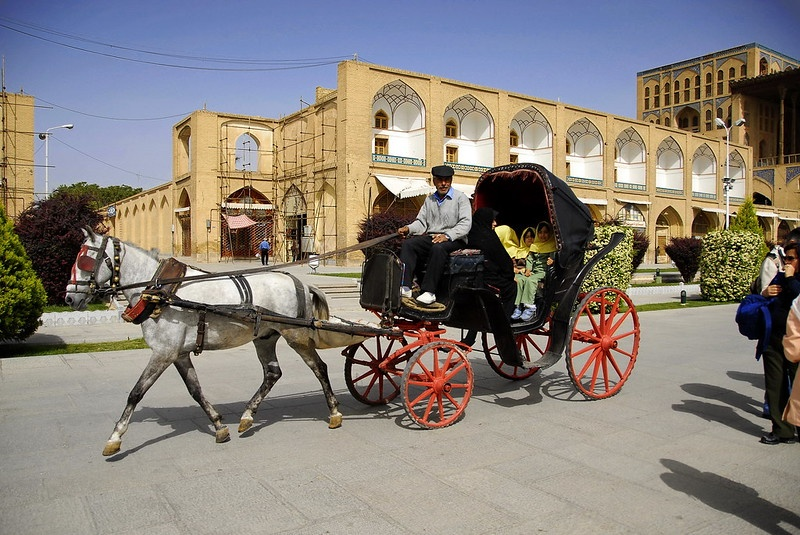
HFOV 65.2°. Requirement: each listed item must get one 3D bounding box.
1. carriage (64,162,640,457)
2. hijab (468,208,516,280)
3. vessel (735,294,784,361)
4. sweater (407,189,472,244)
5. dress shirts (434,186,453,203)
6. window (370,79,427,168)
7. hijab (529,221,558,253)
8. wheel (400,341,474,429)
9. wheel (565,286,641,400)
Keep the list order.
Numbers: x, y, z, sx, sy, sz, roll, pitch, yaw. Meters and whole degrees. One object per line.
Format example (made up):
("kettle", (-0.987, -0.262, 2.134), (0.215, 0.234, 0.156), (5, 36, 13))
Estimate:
("carriage", (-0.239, 0.503, 8.407), (7.972, 3.184, 2.474), (-3, -1, -17))
("hijab", (1.258, -0.319, 8.592), (0.637, 1.007, 0.654), (-21, 17, -35))
("vessel", (4.365, 0.615, 7.533), (0.636, 0.289, 0.738), (29, -10, 35))
("sweater", (0.509, -0.703, 8.455), (0.954, 0.726, 0.935), (2, 14, 26))
("dress shirts", (0.590, -0.977, 8.495), (0.219, 0.111, 0.217), (-4, -2, 3))
("window", (-0.139, -7.634, 33.517), (2.565, 4.312, 2.239), (-2, 10, -17))
("hijab", (2.154, -0.435, 9.381), (0.298, 0.469, 0.475), (11, -6, -23))
("wheel", (0.472, 1.483, 7.848), (1.168, 1.114, 0.331), (-7, 8, -37))
("wheel", (2.961, 1.072, 9.035), (1.682, 1.600, 0.452), (9, -4, -36))
